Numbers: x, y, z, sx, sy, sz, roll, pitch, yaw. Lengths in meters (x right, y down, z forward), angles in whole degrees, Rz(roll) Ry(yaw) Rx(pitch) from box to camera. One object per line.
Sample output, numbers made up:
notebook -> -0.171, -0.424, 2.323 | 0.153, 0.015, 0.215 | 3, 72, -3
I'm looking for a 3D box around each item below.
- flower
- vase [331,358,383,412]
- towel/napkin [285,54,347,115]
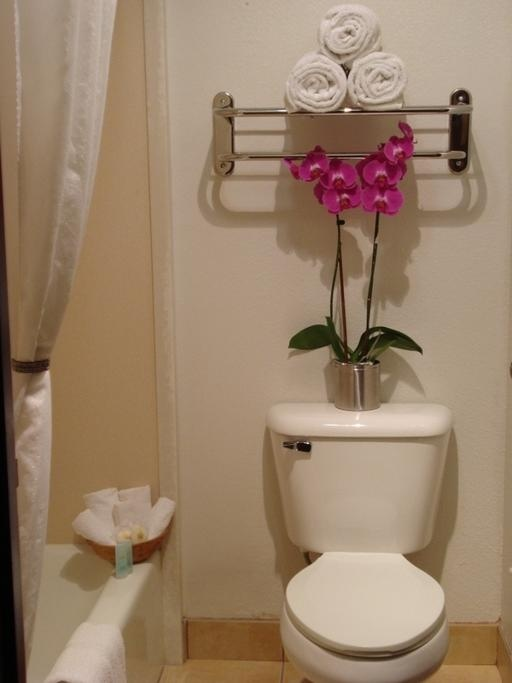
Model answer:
flower -> 0.233, -0.258, 1.454 | 0.360, 0.880, 0.236 | 0, 6, 1
vase -> 0.243, 0.088, 1.459 | 0.100, 0.131, 0.111 | 11, 24, 38
towel/napkin -> 0.129, -0.531, 1.266 | 0.105, 0.127, 0.051 | 15, 10, -3
